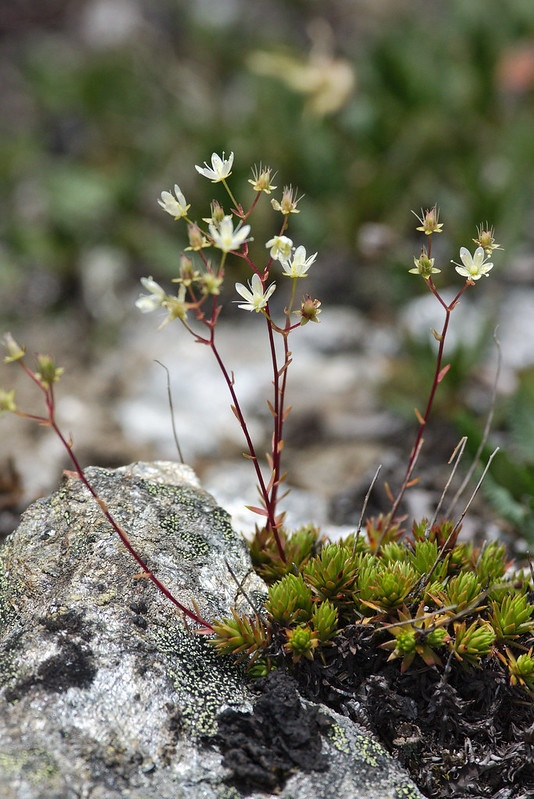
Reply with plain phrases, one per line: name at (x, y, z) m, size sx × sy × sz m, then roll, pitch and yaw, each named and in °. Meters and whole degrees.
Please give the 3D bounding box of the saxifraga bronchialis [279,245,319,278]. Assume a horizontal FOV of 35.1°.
saxifraga bronchialis at (0.118, -0.488, 3.057) m, size 0.173 × 0.164 × 0.101 m, roll -5°, pitch -54°, yaw 8°
